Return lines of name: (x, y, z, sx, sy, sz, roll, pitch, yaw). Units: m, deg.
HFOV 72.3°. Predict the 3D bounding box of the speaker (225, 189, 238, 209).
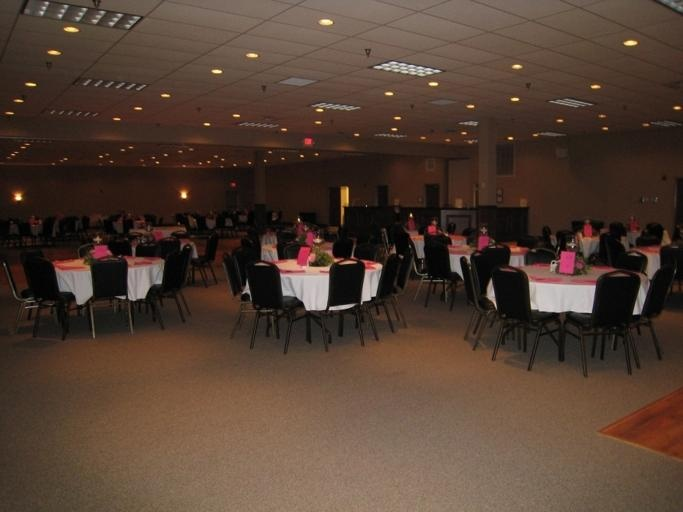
speaker: (-6.893, -3.651, 29.671, 0.856, 1.155, 0.220, -6, 12, -24)
